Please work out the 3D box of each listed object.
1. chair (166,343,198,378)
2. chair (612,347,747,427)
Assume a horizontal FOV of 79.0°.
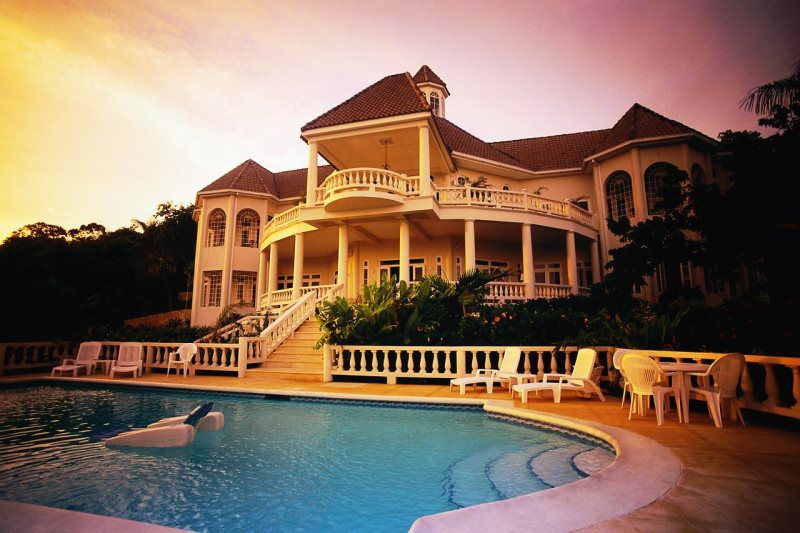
[{"bbox_3d":[-8.353,3.584,18.685,1.003,1.228,2.054,8,-14,-24],"label":"chair"},{"bbox_3d":[6.252,2.685,10.877,2.428,1.633,1.932,-4,-14,24],"label":"chair"}]
